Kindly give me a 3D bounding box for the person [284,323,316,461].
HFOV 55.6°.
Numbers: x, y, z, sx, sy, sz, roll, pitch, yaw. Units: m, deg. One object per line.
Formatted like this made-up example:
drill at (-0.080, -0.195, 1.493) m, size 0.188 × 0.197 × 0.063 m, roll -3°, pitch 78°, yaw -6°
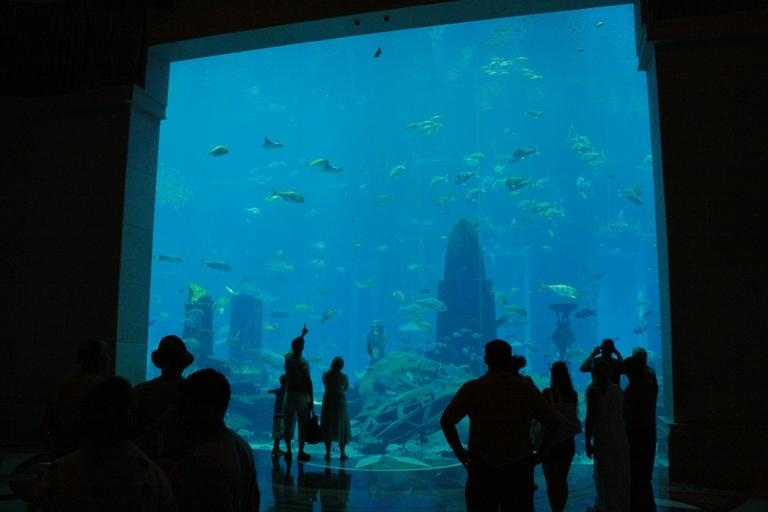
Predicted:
person at (-1.390, 2.299, 11.815) m, size 0.663 × 1.946 × 0.539 m, roll 1°, pitch 2°, yaw -7°
